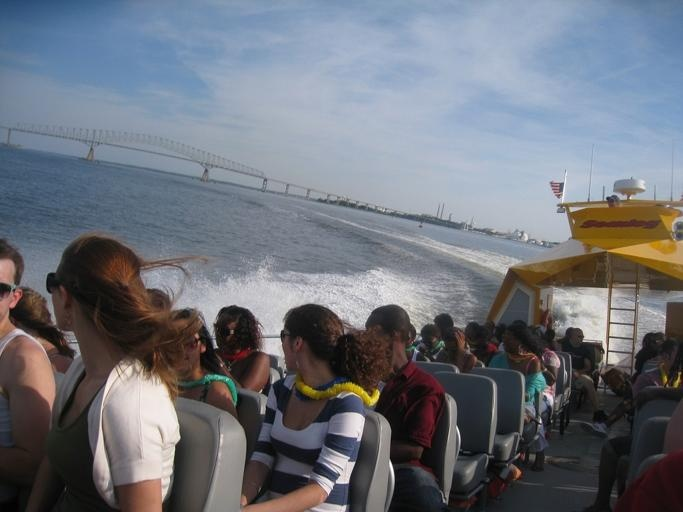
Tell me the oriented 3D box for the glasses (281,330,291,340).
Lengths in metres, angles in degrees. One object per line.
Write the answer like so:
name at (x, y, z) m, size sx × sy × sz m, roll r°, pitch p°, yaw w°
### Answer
glasses at (-0.308, 0.444, 2.773) m, size 0.045 × 0.028 × 0.062 m, roll 4°, pitch -4°, yaw 9°

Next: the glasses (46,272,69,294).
glasses at (-1.131, 0.113, 2.007) m, size 0.072 × 0.028 × 0.071 m, roll 18°, pitch -4°, yaw -21°

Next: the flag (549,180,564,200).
flag at (8.100, -2.430, 18.886) m, size 0.400 × 0.754 × 1.073 m, roll 10°, pitch 0°, yaw 16°
